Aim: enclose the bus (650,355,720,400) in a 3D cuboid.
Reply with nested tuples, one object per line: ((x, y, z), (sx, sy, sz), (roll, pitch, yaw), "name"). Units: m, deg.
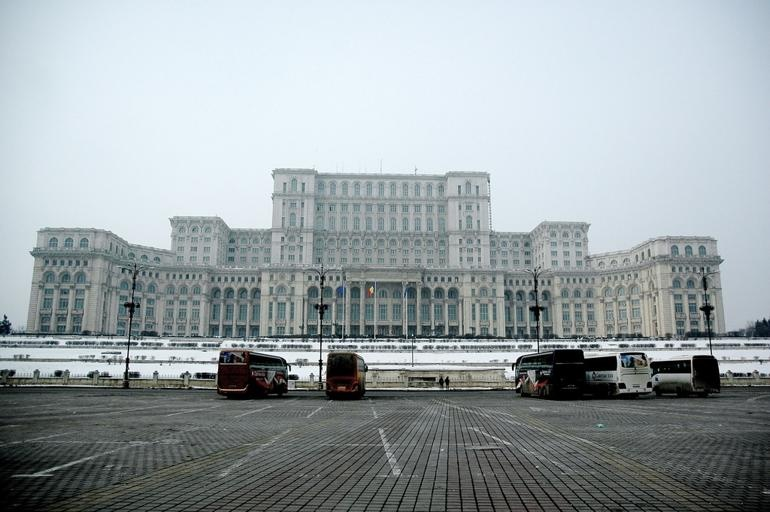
((22.838, 9.113, 49.111), (2.921, 3.518, 7.687), (2, -9, -4), "bus")

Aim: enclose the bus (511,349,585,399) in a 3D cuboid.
((11.378, 8.730, 47.599), (3.039, 3.306, 10.736), (0, -10, -9), "bus")

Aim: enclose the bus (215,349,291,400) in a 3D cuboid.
((-9.301, 8.429, 45.771), (2.284, 3.283, 7.860), (-4, -10, 14), "bus")

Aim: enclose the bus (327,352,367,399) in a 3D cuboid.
((-2.664, 8.189, 44.070), (2.089, 3.229, 3.097), (-3, -9, 10), "bus")

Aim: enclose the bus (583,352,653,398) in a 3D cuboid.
((16.679, 8.419, 45.591), (4.091, 2.847, 2.212), (-7, -11, 31), "bus")
